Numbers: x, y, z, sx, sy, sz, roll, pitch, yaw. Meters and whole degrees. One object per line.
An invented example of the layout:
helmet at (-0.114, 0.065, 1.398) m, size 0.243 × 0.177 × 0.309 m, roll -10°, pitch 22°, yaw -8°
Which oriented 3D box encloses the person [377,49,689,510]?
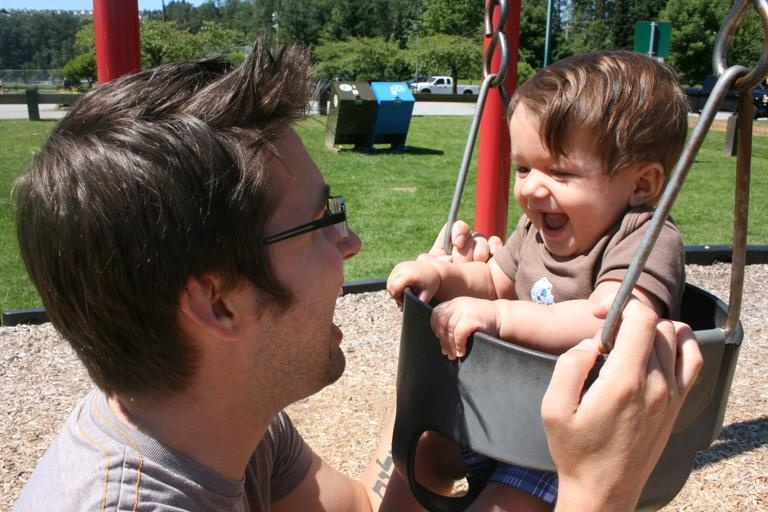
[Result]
person at (0.529, -0.053, 3.255) m, size 1.190 × 2.242 × 1.130 m, roll 0°, pitch 4°, yaw -17°

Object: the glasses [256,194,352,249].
glasses at (-0.185, -0.090, 2.143) m, size 0.149 × 0.053 × 0.150 m, roll -22°, pitch 15°, yaw -14°
